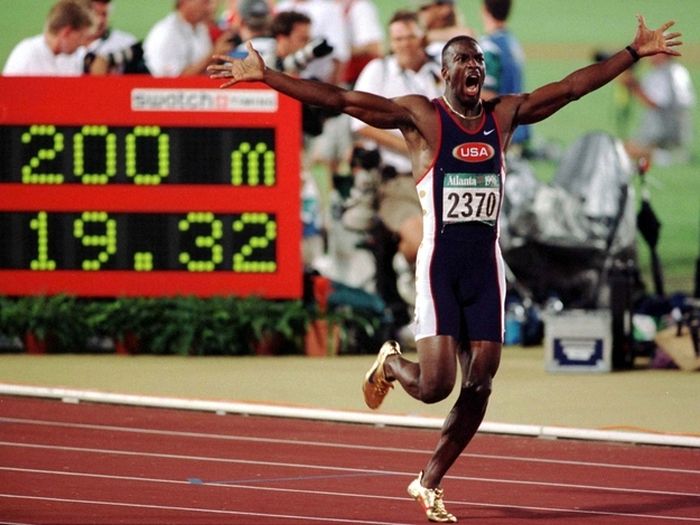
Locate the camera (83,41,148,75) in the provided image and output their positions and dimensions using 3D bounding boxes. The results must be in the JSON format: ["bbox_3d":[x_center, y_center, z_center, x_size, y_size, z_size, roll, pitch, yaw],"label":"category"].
[{"bbox_3d":[-2.293,-2.004,12.429,0.336,0.160,0.441,-1,0,-40],"label":"camera"}]

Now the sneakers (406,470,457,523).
[{"bbox_3d":[0.515,1.458,7.852,0.326,0.276,0.180,9,12,41],"label":"sneakers"}]

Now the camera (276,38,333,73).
[{"bbox_3d":[-0.423,-2.134,13.067,0.285,0.374,0.964,4,4,-38],"label":"camera"}]
